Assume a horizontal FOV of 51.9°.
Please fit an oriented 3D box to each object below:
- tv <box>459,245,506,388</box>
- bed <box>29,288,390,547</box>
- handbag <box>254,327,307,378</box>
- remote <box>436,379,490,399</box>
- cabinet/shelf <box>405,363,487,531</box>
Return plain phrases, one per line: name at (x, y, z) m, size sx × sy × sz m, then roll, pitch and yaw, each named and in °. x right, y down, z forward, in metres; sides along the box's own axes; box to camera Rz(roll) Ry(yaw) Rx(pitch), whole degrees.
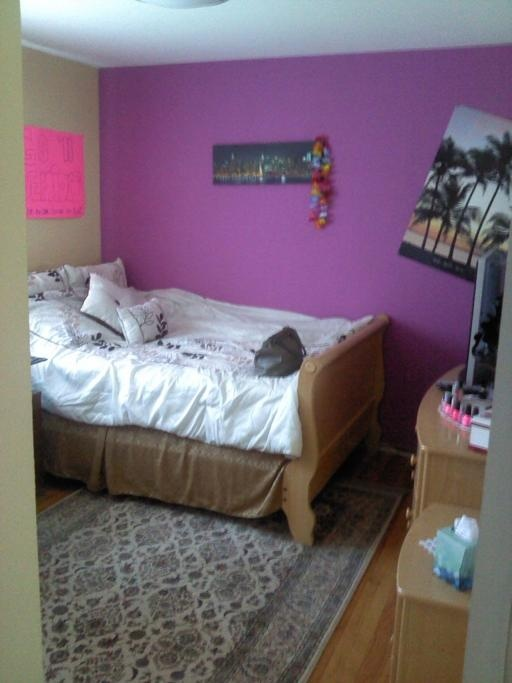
tv at (0.902, -0.127, 2.116) m, size 0.042 × 0.595 × 0.646 m, roll 4°, pitch 7°, yaw 17°
bed at (-0.322, 0.266, 2.843) m, size 1.514 × 0.817 × 1.262 m, roll 12°, pitch 21°, yaw 23°
handbag at (0.113, 0.059, 2.551) m, size 0.209 × 0.056 × 0.222 m, roll -24°, pitch 19°, yaw 41°
remote at (0.889, 0.203, 2.220) m, size 0.117 × 0.046 × 0.096 m, roll 1°, pitch 6°, yaw -18°
cabinet/shelf at (0.692, 0.375, 1.909) m, size 0.169 × 0.354 × 0.624 m, roll 4°, pitch 16°, yaw 15°
